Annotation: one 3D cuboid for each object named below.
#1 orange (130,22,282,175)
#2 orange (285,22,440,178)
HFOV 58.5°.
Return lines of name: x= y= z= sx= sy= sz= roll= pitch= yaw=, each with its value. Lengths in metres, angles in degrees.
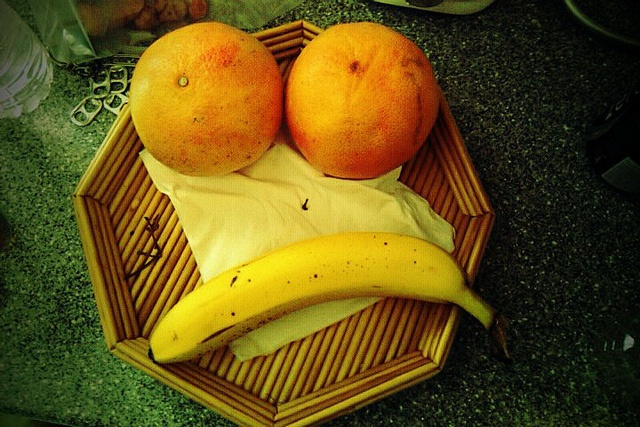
orange: x=-0.196 y=-0.202 z=1.012 sx=0.271 sy=0.127 sz=0.232 roll=-25 pitch=73 yaw=-10
orange: x=0.075 y=-0.198 z=1.114 sx=0.252 sy=0.247 sz=0.267 roll=-1 pitch=92 yaw=-2
